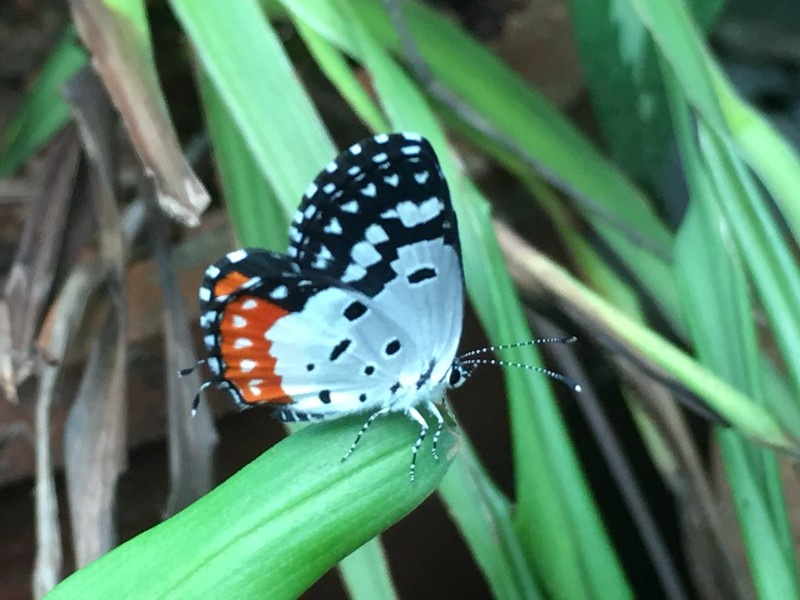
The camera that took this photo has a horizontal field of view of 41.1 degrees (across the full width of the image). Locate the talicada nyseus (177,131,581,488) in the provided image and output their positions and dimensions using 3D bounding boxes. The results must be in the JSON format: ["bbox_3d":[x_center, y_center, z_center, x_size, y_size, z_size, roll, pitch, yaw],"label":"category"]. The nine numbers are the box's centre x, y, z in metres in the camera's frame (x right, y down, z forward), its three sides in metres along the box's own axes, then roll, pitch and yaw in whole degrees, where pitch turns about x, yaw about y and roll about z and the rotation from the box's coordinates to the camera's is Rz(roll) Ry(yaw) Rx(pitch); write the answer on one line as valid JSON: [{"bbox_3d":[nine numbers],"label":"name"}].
[{"bbox_3d":[-0.011,0.015,1.270,0.369,0.391,0.310,10,79,5],"label":"talicada nyseus"}]
